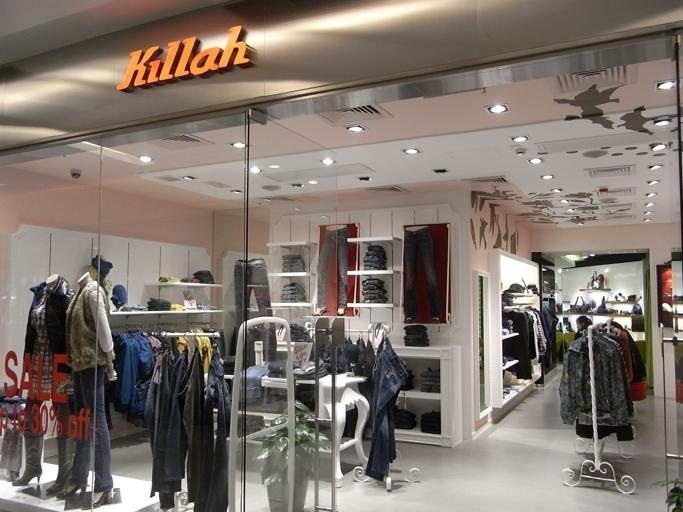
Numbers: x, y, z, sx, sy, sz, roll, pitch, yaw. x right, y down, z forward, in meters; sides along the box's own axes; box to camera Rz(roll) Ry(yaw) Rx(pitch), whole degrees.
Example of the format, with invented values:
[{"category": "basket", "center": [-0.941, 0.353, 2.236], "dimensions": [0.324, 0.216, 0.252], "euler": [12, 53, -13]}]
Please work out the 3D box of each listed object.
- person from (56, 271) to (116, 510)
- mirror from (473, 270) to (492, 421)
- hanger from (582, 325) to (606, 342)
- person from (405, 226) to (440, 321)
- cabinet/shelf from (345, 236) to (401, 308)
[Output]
[{"category": "person", "center": [-1.465, 0.756, 2.835], "dimensions": [0.368, 1.316, 0.151], "euler": [-3, -6, 34]}, {"category": "mirror", "center": [2.041, 1.247, 7.076], "dimensions": [0.199, 2.028, 1.119], "euler": [-2, -5, 18]}, {"category": "hanger", "center": [2.839, 0.866, 5.535], "dimensions": [0.367, 0.098, 0.354], "euler": [-2, 10, 22]}, {"category": "person", "center": [1.083, 0.240, 6.590], "dimensions": [0.479, 1.256, 0.168], "euler": [0, -5, 6]}, {"category": "cabinet/shelf", "center": [0.471, 0.220, 6.609], "dimensions": [0.663, 0.952, 0.649], "euler": [-1, -5, 12]}]
